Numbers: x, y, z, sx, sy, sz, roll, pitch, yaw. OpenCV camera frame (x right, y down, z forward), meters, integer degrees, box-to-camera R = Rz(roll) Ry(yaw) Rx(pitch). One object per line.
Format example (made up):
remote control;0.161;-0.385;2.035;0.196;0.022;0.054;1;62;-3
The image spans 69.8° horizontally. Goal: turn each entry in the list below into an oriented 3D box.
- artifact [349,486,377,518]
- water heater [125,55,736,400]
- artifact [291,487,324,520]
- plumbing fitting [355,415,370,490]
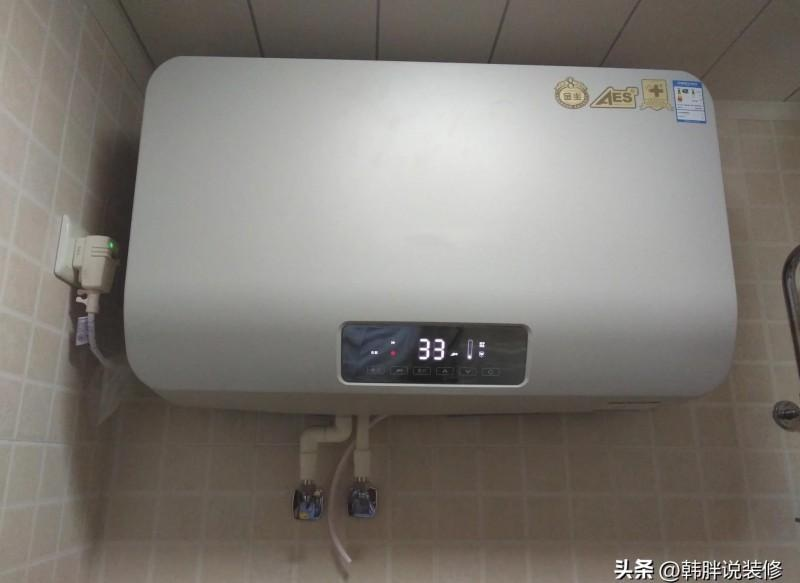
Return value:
artifact;-0.096;0.528;1.447;0.058;0.030;0.089;-2;83;0
water heater;0.044;-0.116;1.235;0.936;0.224;0.616;0;82;-2
artifact;-0.236;0.537;1.464;0.069;0.051;0.074;0;57;1
plumbing fitting;-0.098;0.391;1.502;0.045;0.183;0.059;2;18;0
